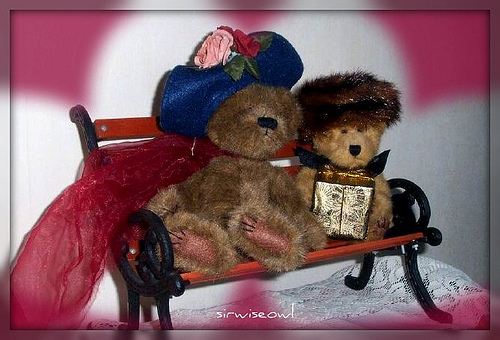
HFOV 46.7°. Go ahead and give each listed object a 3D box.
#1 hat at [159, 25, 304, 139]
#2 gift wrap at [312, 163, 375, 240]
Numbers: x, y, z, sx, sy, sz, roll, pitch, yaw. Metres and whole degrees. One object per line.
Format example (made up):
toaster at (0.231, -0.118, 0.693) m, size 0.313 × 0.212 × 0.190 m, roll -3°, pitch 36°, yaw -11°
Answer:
hat at (-0.075, -0.408, 2.679) m, size 0.665 × 0.515 × 0.213 m, roll -1°, pitch 5°, yaw 1°
gift wrap at (0.457, 0.148, 2.799) m, size 0.298 × 0.367 × 0.063 m, roll -1°, pitch 5°, yaw 6°
